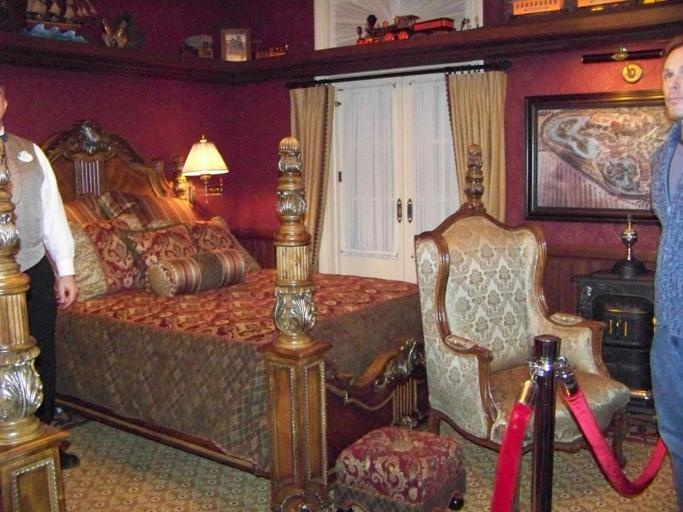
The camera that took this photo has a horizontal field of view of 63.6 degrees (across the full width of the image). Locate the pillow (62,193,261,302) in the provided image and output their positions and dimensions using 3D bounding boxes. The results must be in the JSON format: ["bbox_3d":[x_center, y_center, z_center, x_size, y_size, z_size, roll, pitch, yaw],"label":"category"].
[{"bbox_3d":[-1.747,-0.120,4.842,1.116,0.351,1.249,-11,32,-31],"label":"pillow"}]

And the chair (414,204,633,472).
[{"bbox_3d":[1.144,0.418,3.569,0.971,1.449,1.074,-7,9,-41],"label":"chair"}]

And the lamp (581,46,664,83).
[{"bbox_3d":[2.601,-1.775,5.113,0.745,0.335,0.211,11,30,45],"label":"lamp"}]

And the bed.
[{"bbox_3d":[-0.741,0.556,4.147,2.452,1.708,2.306,5,14,30],"label":"bed"}]

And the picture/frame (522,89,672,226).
[{"bbox_3d":[2.341,-0.934,5.022,1.394,1.079,0.076,3,7,31],"label":"picture/frame"}]
